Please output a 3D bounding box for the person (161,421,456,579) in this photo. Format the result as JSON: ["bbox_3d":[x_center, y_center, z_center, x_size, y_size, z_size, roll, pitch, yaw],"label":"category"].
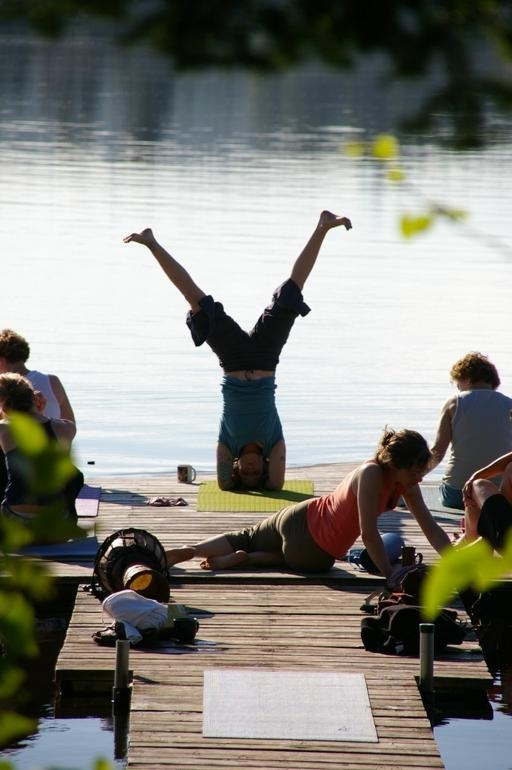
[{"bbox_3d":[0.208,0.540,5.919,1.352,0.541,0.425,-10,-8,43],"label":"person"}]

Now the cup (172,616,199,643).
[{"bbox_3d":[-0.236,0.834,4.746,0.090,0.065,0.072,2,-3,-3],"label":"cup"}]

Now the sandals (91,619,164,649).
[{"bbox_3d":[-0.441,0.853,4.728,0.164,0.057,0.115,3,-11,2],"label":"sandals"}]

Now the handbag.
[{"bbox_3d":[0.548,0.776,4.825,0.364,0.267,0.550,1,5,5],"label":"handbag"}]
